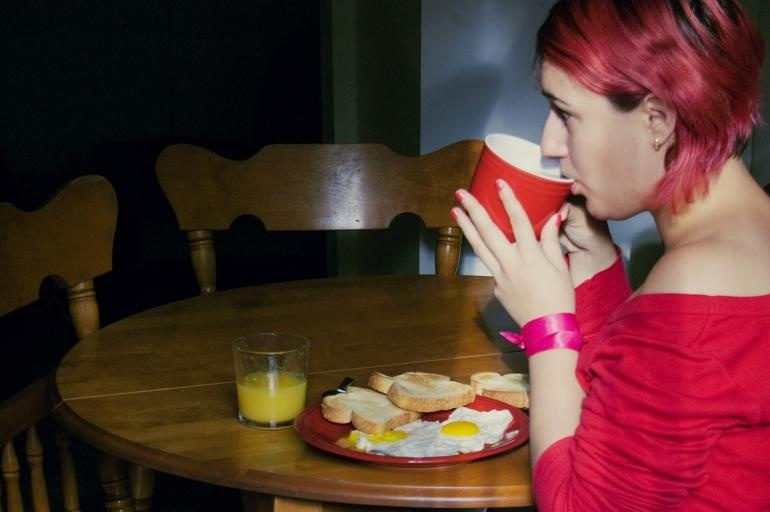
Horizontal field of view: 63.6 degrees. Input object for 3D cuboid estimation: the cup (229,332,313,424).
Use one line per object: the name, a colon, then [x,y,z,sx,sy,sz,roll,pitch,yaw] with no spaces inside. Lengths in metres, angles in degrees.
cup: [-0.180,0.197,0.979,0.131,0.132,0.126,2,5,0]

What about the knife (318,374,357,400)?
knife: [-0.072,0.215,1.010,0.026,0.008,0.054,10,26,22]

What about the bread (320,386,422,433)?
bread: [-0.033,0.236,0.956,0.073,0.019,0.079,19,20,39]

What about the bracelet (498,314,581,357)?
bracelet: [0.245,0.110,0.994,0.113,0.057,0.087,-5,1,12]
